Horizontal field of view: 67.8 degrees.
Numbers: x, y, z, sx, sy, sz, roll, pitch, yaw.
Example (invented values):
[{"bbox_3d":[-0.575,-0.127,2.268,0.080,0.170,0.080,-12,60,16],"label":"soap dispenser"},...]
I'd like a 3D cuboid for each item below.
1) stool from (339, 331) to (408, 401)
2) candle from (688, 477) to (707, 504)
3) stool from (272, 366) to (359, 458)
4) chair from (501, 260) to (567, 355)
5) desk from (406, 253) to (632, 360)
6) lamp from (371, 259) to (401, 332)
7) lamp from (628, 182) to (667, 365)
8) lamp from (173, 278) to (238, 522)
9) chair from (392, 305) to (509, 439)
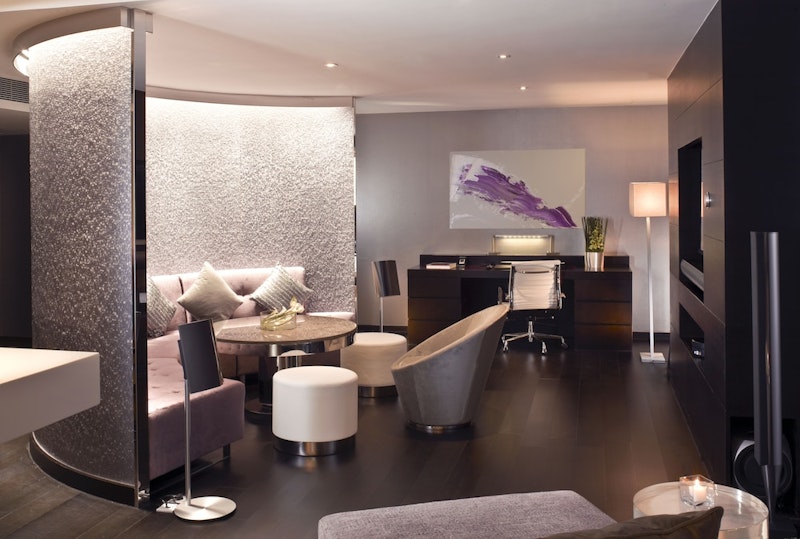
[{"bbox_3d":[-0.270,0.975,6.137,0.616,0.501,0.626,6,6,38],"label":"stool"},{"bbox_3d":[1.218,0.910,2.425,0.065,0.093,0.056,-5,9,-27],"label":"candle"},{"bbox_3d":[-0.696,1.118,4.876,0.697,0.599,0.701,2,4,9],"label":"stool"},{"bbox_3d":[1.704,0.452,7.602,1.063,1.433,1.103,0,3,7],"label":"chair"},{"bbox_3d":[1.577,0.422,7.960,2.921,1.267,0.838,1,1,10],"label":"desk"},{"bbox_3d":[-0.153,0.345,6.784,0.436,1.053,0.241,4,27,-1],"label":"lamp"},{"bbox_3d":[3.090,0.056,7.370,0.437,2.150,0.441,-3,-4,43],"label":"lamp"},{"bbox_3d":[-1.608,0.781,4.988,0.589,1.244,2.888,-3,8,-16],"label":"lamp"},{"bbox_3d":[0.408,0.822,5.215,1.048,0.914,1.114,0,-2,0],"label":"chair"}]
